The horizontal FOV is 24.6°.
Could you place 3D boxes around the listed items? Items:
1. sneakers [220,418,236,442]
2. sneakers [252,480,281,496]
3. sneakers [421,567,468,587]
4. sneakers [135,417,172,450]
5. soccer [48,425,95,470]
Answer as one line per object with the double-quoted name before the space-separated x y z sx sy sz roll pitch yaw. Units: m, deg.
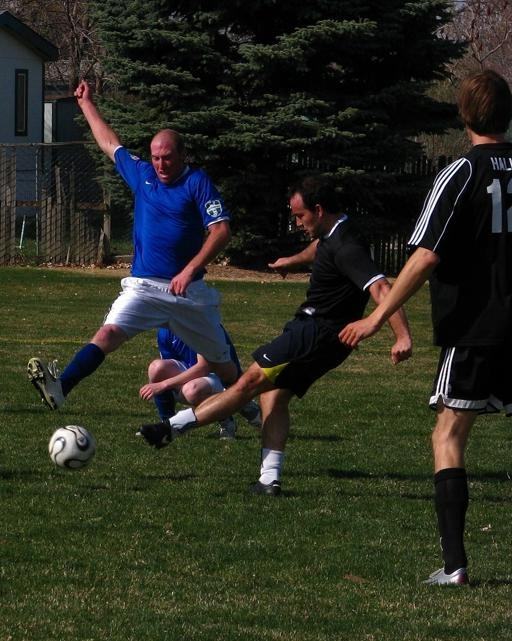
"sneakers" -0.185 0.733 7.833 0.067 0.187 0.087 -29 -57 28
"sneakers" 0.065 0.934 6.486 0.173 0.063 0.065 1 4 22
"sneakers" 0.826 1.125 5.132 0.077 0.077 0.207 6 -10 -39
"sneakers" -0.510 0.627 6.229 0.128 0.172 0.204 6 8 19
"soccer" -0.994 0.702 6.423 0.256 0.231 0.250 -15 -6 33
